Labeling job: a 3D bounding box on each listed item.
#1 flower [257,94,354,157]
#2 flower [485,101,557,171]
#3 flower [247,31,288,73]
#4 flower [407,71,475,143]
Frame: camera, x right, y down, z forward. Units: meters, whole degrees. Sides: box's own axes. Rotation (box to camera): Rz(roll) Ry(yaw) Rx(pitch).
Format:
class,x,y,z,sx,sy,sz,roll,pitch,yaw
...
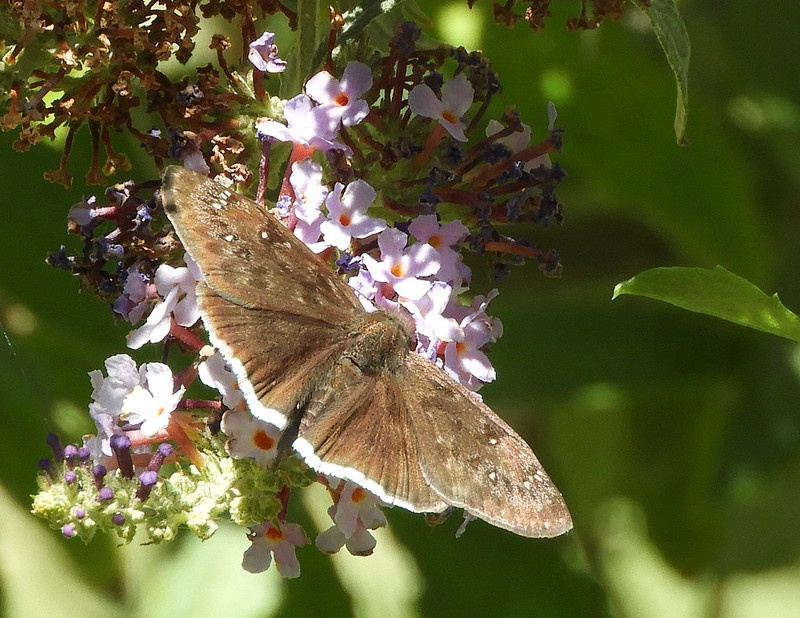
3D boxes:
class,x,y,z,sx,sy,sz,roll,pitch,yaw
flower,-0.169,-0.325,1.653,0.147,0.092,0.052,-6,19,-7
flower,0.229,-0.332,1.797,0.124,0.119,0.224,-2,19,5
flower,-0.235,-0.459,1.689,0.060,0.072,0.111,-6,20,-9
flower,0.076,-0.360,1.697,0.111,0.111,0.104,0,19,8
